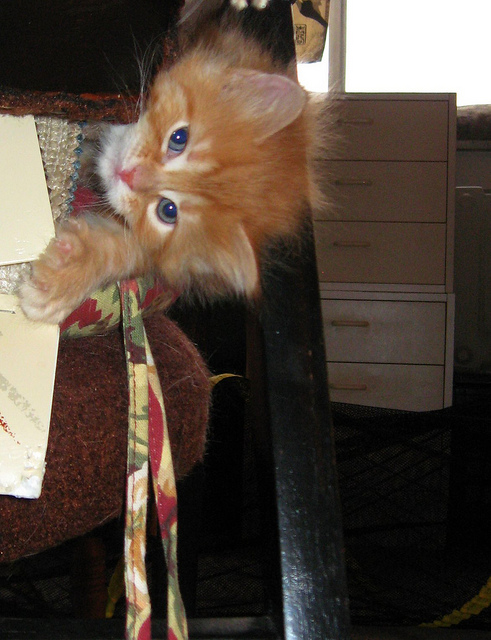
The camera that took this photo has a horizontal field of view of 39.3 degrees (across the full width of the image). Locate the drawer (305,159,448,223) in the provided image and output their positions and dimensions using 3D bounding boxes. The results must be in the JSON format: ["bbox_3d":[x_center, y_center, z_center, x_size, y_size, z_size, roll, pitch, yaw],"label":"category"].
[{"bbox_3d":[0.266,-0.310,1.670,0.395,0.138,0.297,-2,12,-7],"label":"drawer"}]

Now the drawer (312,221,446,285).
[{"bbox_3d":[0.310,-0.155,1.512,0.192,0.123,0.073,2,-62,2],"label":"drawer"}]

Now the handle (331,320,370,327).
[{"bbox_3d":[0.247,0.010,1.624,0.088,0.013,0.008,4,-5,7],"label":"handle"}]

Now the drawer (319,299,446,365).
[{"bbox_3d":[0.321,0.030,1.602,0.278,0.137,0.110,2,-29,8],"label":"drawer"}]

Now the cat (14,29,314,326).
[{"bbox_3d":[-0.036,-0.064,0.332,0.132,0.137,0.076,1,-30,10],"label":"cat"}]

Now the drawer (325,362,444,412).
[{"bbox_3d":[0.324,0.154,1.599,0.260,0.110,0.092,2,-29,8],"label":"drawer"}]
